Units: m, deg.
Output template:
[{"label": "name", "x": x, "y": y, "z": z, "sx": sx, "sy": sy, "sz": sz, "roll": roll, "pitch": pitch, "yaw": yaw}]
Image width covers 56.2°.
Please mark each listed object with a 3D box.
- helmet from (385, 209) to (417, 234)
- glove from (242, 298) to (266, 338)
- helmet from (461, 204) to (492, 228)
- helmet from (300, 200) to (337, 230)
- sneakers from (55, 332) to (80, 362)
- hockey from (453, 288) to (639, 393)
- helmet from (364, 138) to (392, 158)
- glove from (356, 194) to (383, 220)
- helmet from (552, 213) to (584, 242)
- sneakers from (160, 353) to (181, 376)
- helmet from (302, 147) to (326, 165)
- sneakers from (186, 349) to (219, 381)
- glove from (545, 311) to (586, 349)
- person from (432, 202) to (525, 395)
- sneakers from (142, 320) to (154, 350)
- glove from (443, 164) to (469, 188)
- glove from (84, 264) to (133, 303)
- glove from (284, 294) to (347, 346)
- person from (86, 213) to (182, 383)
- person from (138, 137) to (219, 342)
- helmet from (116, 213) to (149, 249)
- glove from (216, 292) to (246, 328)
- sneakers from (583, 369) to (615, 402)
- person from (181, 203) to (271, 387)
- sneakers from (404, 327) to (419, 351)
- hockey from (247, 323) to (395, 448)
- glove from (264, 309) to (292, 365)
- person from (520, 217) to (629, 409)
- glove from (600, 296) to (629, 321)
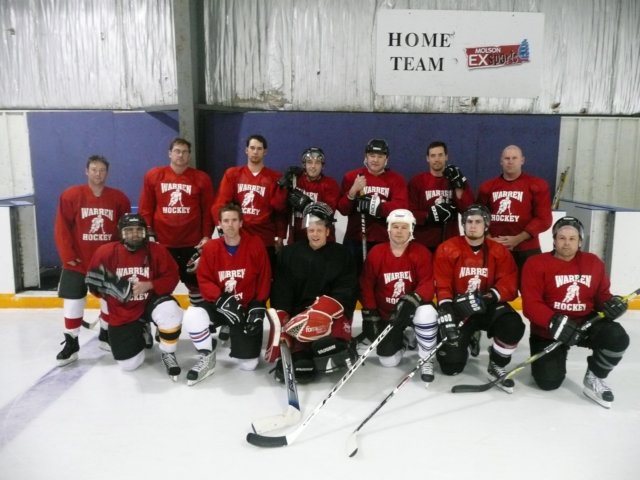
[{"label": "helmet", "x": 0.748, "y": -0.196, "z": 5.483, "sx": 0.193, "sy": 0.239, "sz": 0.211, "roll": 2, "pitch": 31, "yaw": 6}, {"label": "glove", "x": -0.586, "y": 0.699, "z": 5.362, "sx": 0.104, "sy": 0.269, "sz": 0.196, "roll": -2, "pitch": -35, "yaw": 43}, {"label": "helmet", "x": 1.416, "y": -0.203, "z": 5.446, "sx": 0.182, "sy": 0.238, "sz": 0.224, "roll": 7, "pitch": 47, "yaw": 40}, {"label": "helmet", "x": -0.007, "y": -0.219, "z": 5.491, "sx": 0.253, "sy": 0.217, "sz": 0.224, "roll": 4, "pitch": -5, "yaw": -33}, {"label": "sneakers", "x": -2.362, "y": 1.012, "z": 5.607, "sx": 0.205, "sy": 0.254, "sz": 0.166, "roll": -9, "pitch": 15, "yaw": -26}, {"label": "hockey", "x": 1.947, "y": 0.892, "z": 5.244, "sx": 1.458, "sy": 0.082, "sz": 0.112, "roll": -33, "pitch": 32, "yaw": 10}, {"label": "helmet", "x": 0.580, "y": -0.927, "z": 6.104, "sx": 0.167, "sy": 0.183, "sz": 0.232, "roll": 3, "pitch": 17, "yaw": 8}, {"label": "glove", "x": 0.494, "y": -0.349, "z": 5.995, "sx": 0.114, "sy": 0.194, "sz": 0.243, "roll": 10, "pitch": -2, "yaw": -44}, {"label": "helmet", "x": 2.173, "y": -0.126, "z": 5.246, "sx": 0.204, "sy": 0.276, "sz": 0.244, "roll": -2, "pitch": 6, "yaw": 26}, {"label": "sneakers", "x": -1.340, "y": 1.103, "z": 5.405, "sx": 0.098, "sy": 0.128, "sz": 0.286, "roll": -4, "pitch": 18, "yaw": -31}, {"label": "helmet", "x": -0.067, "y": -0.870, "z": 6.036, "sx": 0.189, "sy": 0.155, "sz": 0.204, "roll": 1, "pitch": -8, "yaw": -3}, {"label": "sneakers", "x": -1.045, "y": 1.125, "z": 5.349, "sx": 0.112, "sy": 0.234, "sz": 0.355, "roll": 8, "pitch": 17, "yaw": 38}, {"label": "glove", "x": 2.062, "y": 0.772, "z": 5.036, "sx": 0.241, "sy": 0.280, "sz": 0.175, "roll": 9, "pitch": 17, "yaw": 40}, {"label": "person", "x": 1.399, "y": 0.475, "z": 5.423, "sx": 0.829, "sy": 1.582, "sz": 0.870, "roll": -6, "pitch": 9, "yaw": -22}, {"label": "sneakers", "x": -1.677, "y": 0.934, "z": 5.868, "sx": 0.100, "sy": 0.320, "sz": 0.123, "roll": -3, "pitch": -2, "yaw": -16}, {"label": "glove", "x": 1.376, "y": -0.606, "z": 6.066, "sx": 0.190, "sy": 0.263, "sz": 0.117, "roll": -37, "pitch": -17, "yaw": 17}, {"label": "glove", "x": -1.873, "y": 0.393, "z": 5.333, "sx": 0.377, "sy": 0.289, "sz": 0.150, "roll": 19, "pitch": -19, "yaw": -4}, {"label": "glove", "x": -0.027, "y": 0.703, "z": 5.281, "sx": 0.505, "sy": 0.218, "sz": 0.340, "roll": -21, "pitch": 54, "yaw": -33}, {"label": "person", "x": -1.674, "y": 0.476, "z": 5.537, "sx": 0.863, "sy": 1.453, "sz": 0.747, "roll": 2, "pitch": 11, "yaw": 8}, {"label": "person", "x": -1.485, "y": 0.000, "z": 6.287, "sx": 0.719, "sy": 2.049, "sz": 0.554, "roll": 0, "pitch": 15, "yaw": -16}, {"label": "helmet", "x": -1.682, "y": -0.073, "z": 5.410, "sx": 0.233, "sy": 0.317, "sz": 0.317, "roll": -11, "pitch": 7, "yaw": -24}, {"label": "glove", "x": -0.790, "y": 0.614, "z": 5.306, "sx": 0.227, "sy": 0.261, "sz": 0.114, "roll": 3, "pitch": 14, "yaw": 23}, {"label": "sneakers", "x": 2.343, "y": 1.249, "z": 5.102, "sx": 0.135, "sy": 0.247, "sz": 0.341, "roll": -4, "pitch": 0, "yaw": -12}, {"label": "person", "x": -0.873, "y": 0.501, "z": 5.458, "sx": 0.788, "sy": 1.528, "sz": 1.030, "roll": 16, "pitch": 22, "yaw": 41}, {"label": "sneakers", "x": 0.921, "y": 1.004, "z": 6.090, "sx": 0.157, "sy": 0.221, "sz": 0.087, "roll": -5, "pitch": -16, "yaw": 7}, {"label": "hockey", "x": -0.026, "y": 1.201, "z": 4.887, "sx": 0.341, "sy": 0.528, "sz": 1.329, "roll": 10, "pitch": 18, "yaw": 43}, {"label": "glove", "x": -0.366, "y": 0.809, "z": 5.166, "sx": 0.202, "sy": 0.533, "sz": 0.175, "roll": 0, "pitch": 14, "yaw": 8}, {"label": "person", "x": 2.230, "y": 0.609, "z": 5.212, "sx": 0.807, "sy": 1.500, "sz": 0.838, "roll": -12, "pitch": 12, "yaw": -41}, {"label": "glove", "x": 2.472, "y": 0.575, "z": 5.039, "sx": 0.185, "sy": 0.207, "sz": 0.183, "roll": 6, "pitch": 16, "yaw": 32}]
